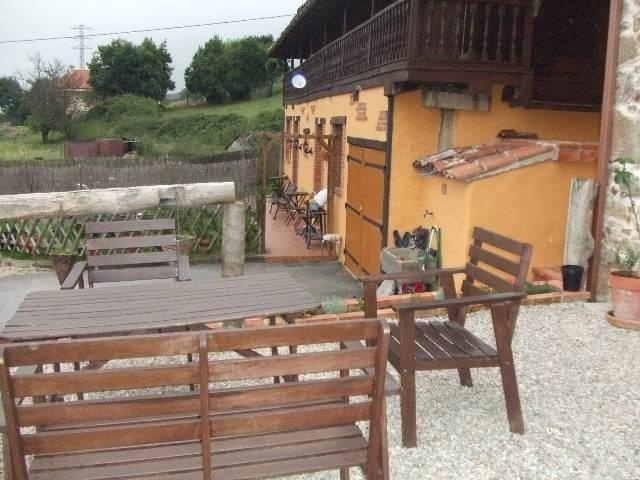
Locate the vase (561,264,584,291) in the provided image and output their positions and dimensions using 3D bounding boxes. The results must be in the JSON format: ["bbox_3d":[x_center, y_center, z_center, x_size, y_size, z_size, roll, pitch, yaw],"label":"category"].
[{"bbox_3d":[2.856,0.426,6.953,0.262,0.298,0.267,-2,3,-15],"label":"vase"}]

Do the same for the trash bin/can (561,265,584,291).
[{"bbox_3d":[2.862,0.428,6.939,0.263,0.297,0.267,-3,3,-17],"label":"trash bin/can"}]

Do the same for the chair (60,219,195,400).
[{"bbox_3d":[-1.746,0.586,5.713,1.289,1.450,1.262,0,14,-1],"label":"chair"}]
